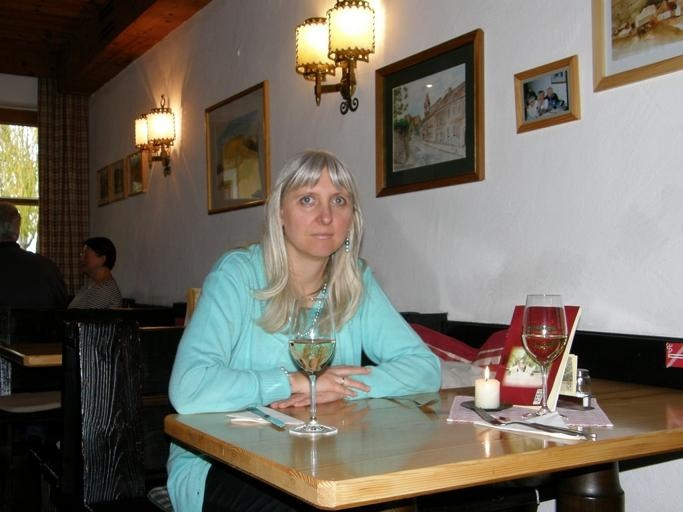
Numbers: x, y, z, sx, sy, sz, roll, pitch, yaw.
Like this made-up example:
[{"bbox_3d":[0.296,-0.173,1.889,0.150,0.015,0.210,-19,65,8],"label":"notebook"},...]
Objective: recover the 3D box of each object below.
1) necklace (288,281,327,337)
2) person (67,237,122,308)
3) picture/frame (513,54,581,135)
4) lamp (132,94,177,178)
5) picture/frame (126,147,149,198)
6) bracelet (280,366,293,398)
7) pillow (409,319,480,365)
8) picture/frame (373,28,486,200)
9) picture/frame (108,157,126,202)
[{"bbox_3d":[-0.099,0.172,1.634,0.101,0.146,0.058,21,-2,30],"label":"necklace"},{"bbox_3d":[-2.264,0.168,4.763,0.412,0.716,0.748,5,5,-24],"label":"person"},{"bbox_3d":[0.939,-0.730,2.327,0.028,0.401,0.384,-1,1,-37],"label":"picture/frame"},{"bbox_3d":[-1.933,-1.194,5.372,0.289,0.689,0.434,-1,1,-42],"label":"lamp"},{"bbox_3d":[-2.407,-0.990,6.095,0.083,0.576,0.625,0,-1,-36],"label":"picture/frame"},{"bbox_3d":[-0.154,0.353,1.453,0.015,0.063,0.063,-15,26,2],"label":"bracelet"},{"bbox_3d":[0.496,0.420,2.395,0.165,0.060,0.200,5,11,-38],"label":"pillow"},{"bbox_3d":[0.505,-0.780,2.837,0.070,1.015,0.960,0,-3,-34],"label":"picture/frame"},{"bbox_3d":[-2.906,-0.983,6.669,0.044,0.575,0.550,4,-7,-32],"label":"picture/frame"}]
